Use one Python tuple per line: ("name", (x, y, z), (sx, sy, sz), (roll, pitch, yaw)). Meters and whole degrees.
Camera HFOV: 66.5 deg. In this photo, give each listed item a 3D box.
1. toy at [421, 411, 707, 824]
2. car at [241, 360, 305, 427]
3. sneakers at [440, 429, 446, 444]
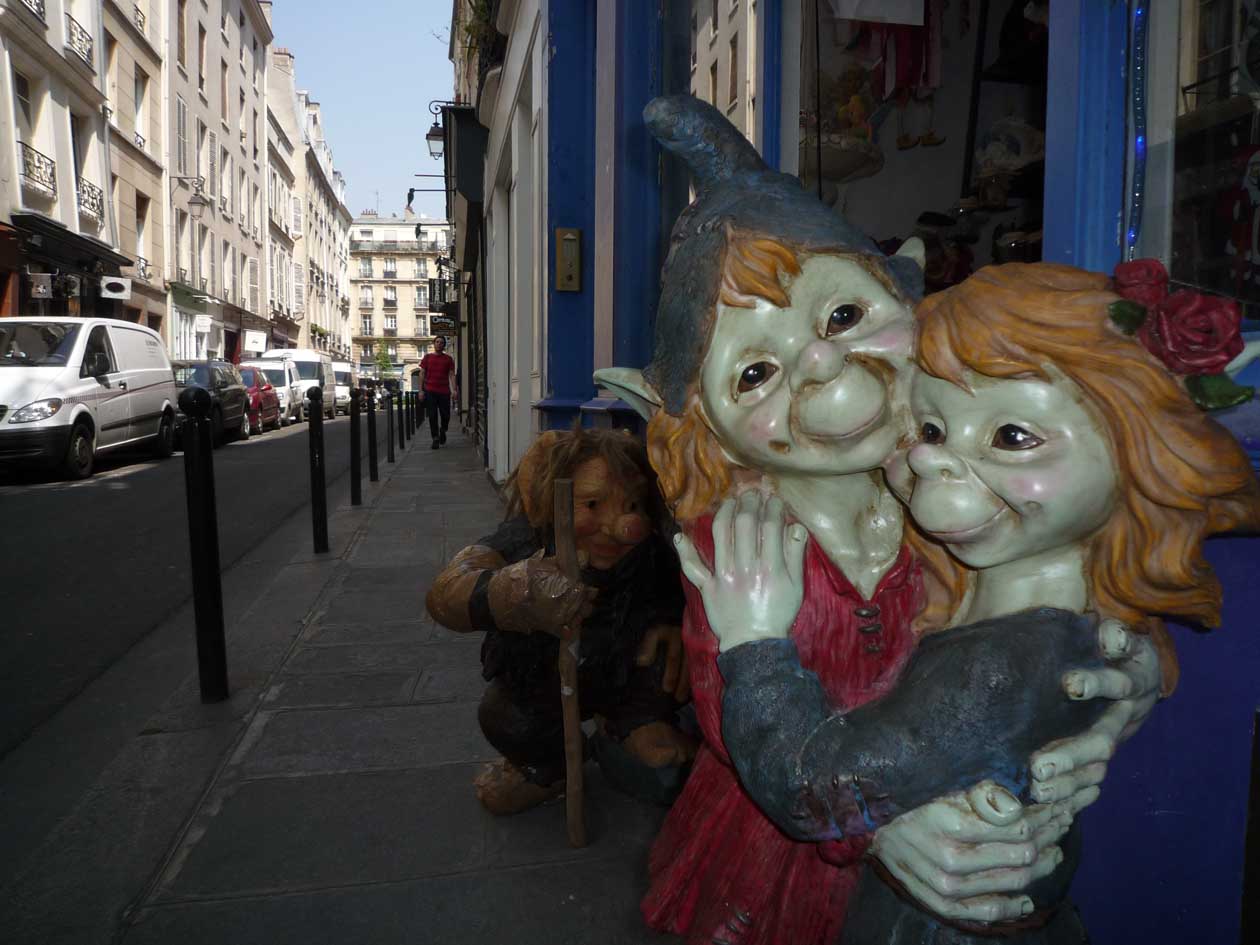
("toy", (-0.166, 0.438, 2.514), (0.784, 1.158, 0.640), (-11, 23, -15))
("car", (-8.457, -1.966, 23.050), (1.298, 1.320, 2.343), (-1, 0, -2))
("sneakers", (-3.033, -0.554, 15.705), (0.097, 0.089, 0.195), (10, -16, -9))
